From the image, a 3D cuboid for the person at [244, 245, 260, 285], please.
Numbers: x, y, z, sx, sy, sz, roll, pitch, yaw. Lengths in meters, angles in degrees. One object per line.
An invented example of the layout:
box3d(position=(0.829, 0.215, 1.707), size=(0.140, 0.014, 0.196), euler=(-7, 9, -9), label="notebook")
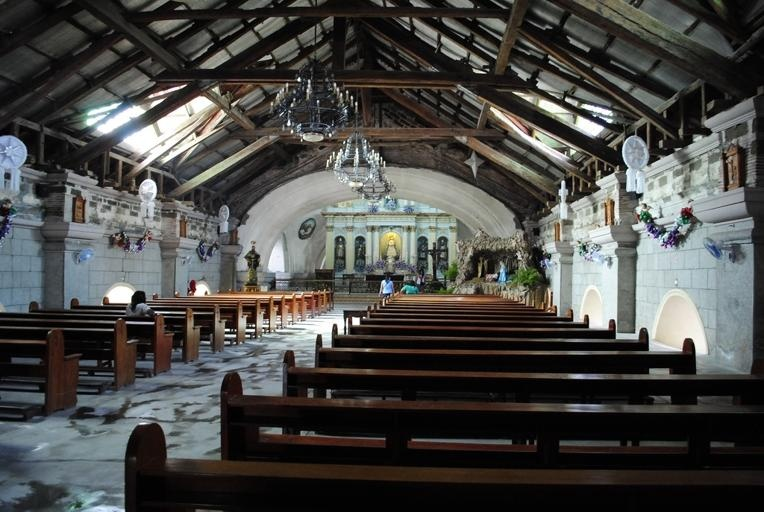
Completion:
box3d(position=(-4.147, 0.296, 18.150), size=(0.366, 1.344, 1.245), euler=(2, -7, -10), label="person")
